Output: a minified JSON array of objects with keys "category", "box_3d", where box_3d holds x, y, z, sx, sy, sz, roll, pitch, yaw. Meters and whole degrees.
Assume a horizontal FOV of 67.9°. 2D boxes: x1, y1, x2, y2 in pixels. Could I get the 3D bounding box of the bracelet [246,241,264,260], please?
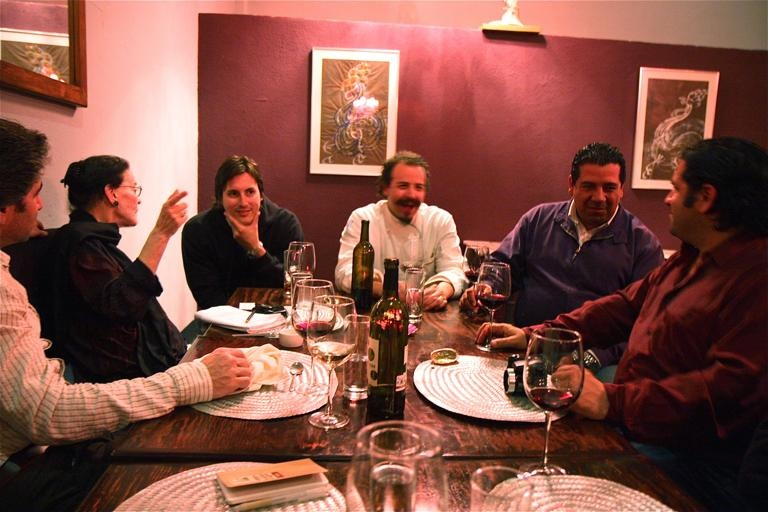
[{"category":"bracelet","box_3d":[-0.808,-0.038,3.633,0.120,0.127,0.077,-8,43,-31]}]
